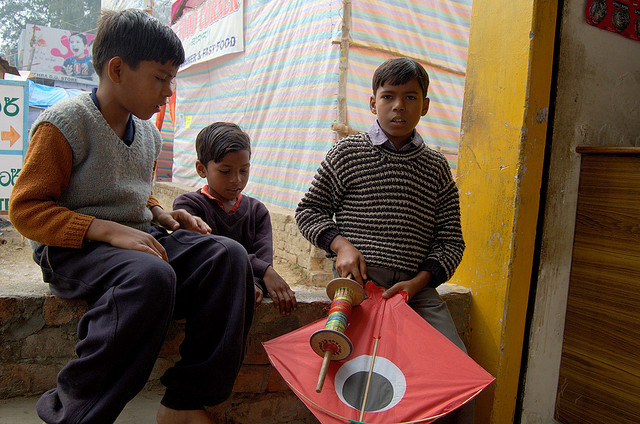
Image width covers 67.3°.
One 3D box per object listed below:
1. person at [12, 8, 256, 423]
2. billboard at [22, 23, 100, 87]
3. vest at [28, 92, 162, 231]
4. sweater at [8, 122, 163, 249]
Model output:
[{"bbox_3d":[-0.903,-0.031,2.409,1.139,2.011,0.777,1,6,-12],"label":"person"},{"bbox_3d":[-11.846,-7.192,21.946,0.045,2.329,3.374,20,19,34],"label":"billboard"},{"bbox_3d":[-1.143,-0.247,2.437,0.429,0.738,0.744,0,-3,29],"label":"vest"},{"bbox_3d":[-1.194,-0.151,2.432,0.403,0.622,0.599,-4,19,-34],"label":"sweater"}]
